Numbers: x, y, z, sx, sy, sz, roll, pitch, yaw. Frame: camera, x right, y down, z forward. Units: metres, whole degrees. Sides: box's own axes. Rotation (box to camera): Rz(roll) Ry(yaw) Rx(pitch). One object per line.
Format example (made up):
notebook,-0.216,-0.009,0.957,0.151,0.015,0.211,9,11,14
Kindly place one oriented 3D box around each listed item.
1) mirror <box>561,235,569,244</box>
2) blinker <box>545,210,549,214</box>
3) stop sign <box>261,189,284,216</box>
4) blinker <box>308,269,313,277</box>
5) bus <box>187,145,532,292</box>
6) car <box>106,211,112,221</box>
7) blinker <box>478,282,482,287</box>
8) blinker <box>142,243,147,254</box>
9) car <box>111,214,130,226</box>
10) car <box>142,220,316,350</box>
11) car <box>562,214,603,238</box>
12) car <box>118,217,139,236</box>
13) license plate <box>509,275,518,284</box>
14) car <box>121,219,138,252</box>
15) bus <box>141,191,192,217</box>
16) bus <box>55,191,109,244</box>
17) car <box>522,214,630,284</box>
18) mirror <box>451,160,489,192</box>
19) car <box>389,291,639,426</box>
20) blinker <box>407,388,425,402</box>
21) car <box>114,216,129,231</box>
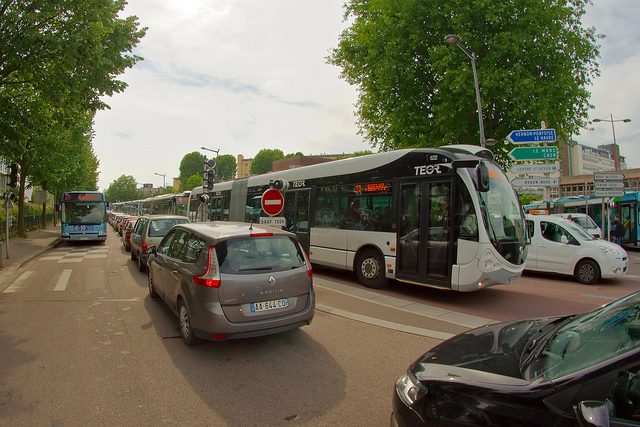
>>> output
mirror,7.677,0.823,12.376,0.193,0.196,0.180,-12,15,-28
blinker,7.987,-0.049,13.885,0.127,0.096,0.126,8,14,31
stop sign,-1.465,-0.354,12.439,0.916,1.066,0.201,-1,0,-24
blinker,-0.195,1.113,7.366,0.058,0.130,0.065,-1,9,-11
bus,0.358,0.206,15.130,3.710,3.974,14.197,0,0,-36
car,-27.730,0.326,51.901,1.048,0.944,1.759,-1,11,-19
blinker,3.696,1.614,9.091,0.108,0.110,0.028,14,5,16
blinker,-5.688,1.128,12.805,0.140,0.292,0.507,-3,9,-24
car,-16.246,0.489,32.066,1.032,0.774,1.507,-3,10,-28
car,-1.860,1.318,7.612,3.349,2.194,1.699,7,11,34
car,11.086,0.512,16.668,0.960,1.165,2.465,-3,-4,1
car,-10.038,0.665,20.624,1.058,0.956,1.780,-3,9,-30
license plate,4.617,1.559,9.423,0.366,0.174,0.081,-6,11,-38
car,-8.663,1.000,17.936,0.996,1.016,1.942,-2,15,-23
bus,-14.692,-0.528,36.398,7.899,2.138,1.783,-2,3,39
bus,-13.029,0.190,21.714,2.128,2.417,5.587,1,-4,-27
car,7.982,1.128,12.486,2.602,1.978,0.903,5,10,27
mirror,3.419,-0.904,8.964,0.853,0.472,0.872,1,26,10
car,2.302,1.862,4.818,2.460,1.157,1.838,5,-4,18
blinker,1.140,2.146,4.701,0.144,0.133,0.038,12,-31,51
car,-14.245,0.682,28.276,1.141,0.957,1.622,-2,9,-26
